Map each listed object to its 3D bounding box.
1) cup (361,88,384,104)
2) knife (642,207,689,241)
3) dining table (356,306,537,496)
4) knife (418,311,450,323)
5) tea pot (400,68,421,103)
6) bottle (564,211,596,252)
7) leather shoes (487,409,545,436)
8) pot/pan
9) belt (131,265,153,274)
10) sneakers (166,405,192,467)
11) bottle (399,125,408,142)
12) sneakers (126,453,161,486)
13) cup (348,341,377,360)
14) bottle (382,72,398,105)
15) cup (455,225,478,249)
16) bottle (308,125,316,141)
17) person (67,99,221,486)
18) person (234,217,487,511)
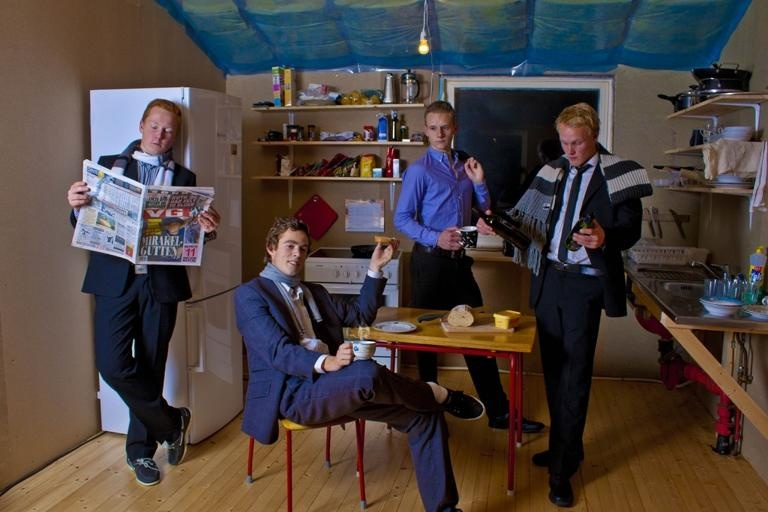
[{"bbox_3d":[-0.104,-1.428,5.405,0.176,0.124,0.143,3,8,18],"label":"cup"},{"bbox_3d":[2.482,-0.278,5.224,0.300,0.232,0.024,-1,2,4],"label":"knife"},{"bbox_3d":[0.474,1.025,4.125,1.391,1.040,1.080,0,-1,15],"label":"dining table"},{"bbox_3d":[0.337,0.407,4.014,0.275,0.023,0.070,-6,13,-39],"label":"knife"},{"bbox_3d":[0.236,-1.505,5.370,0.165,0.301,0.184,0,10,2],"label":"tea pot"},{"bbox_3d":[1.188,-0.135,3.671,0.130,0.243,0.211,-4,10,-22],"label":"bottle"},{"bbox_3d":[0.998,1.269,4.632,0.541,0.215,0.182,-2,1,6],"label":"leather shoes"},{"bbox_3d":[2.380,-1.159,4.396,0.517,0.185,0.386,-1,0,27],"label":"pot/pan"},{"bbox_3d":[-1.582,0.092,3.883,0.090,0.065,0.020,-3,10,-16],"label":"belt"},{"bbox_3d":[-1.461,1.271,4.205,0.136,0.413,0.163,6,7,30],"label":"sneakers"},{"bbox_3d":[0.182,-1.096,5.415,0.123,0.161,0.123,0,12,0],"label":"bottle"},{"bbox_3d":[-1.634,1.439,4.042,0.282,0.104,0.108,6,3,42],"label":"sneakers"},{"bbox_3d":[-0.119,0.526,3.375,0.131,0.106,0.139,0,10,0],"label":"cup"},{"bbox_3d":[0.057,-1.501,5.400,0.129,0.276,0.162,0,10,1],"label":"bottle"},{"bbox_3d":[0.570,-0.123,4.091,0.101,0.115,0.157,-1,-1,1],"label":"cup"},{"bbox_3d":[-0.679,-1.144,5.583,0.078,0.148,0.128,0,10,3],"label":"bottle"},{"bbox_3d":[-1.589,0.237,3.939,0.815,2.511,0.530,-4,10,-20],"label":"person"},{"bbox_3d":[-0.224,0.627,3.579,1.308,1.659,0.589,1,10,9],"label":"person"}]
